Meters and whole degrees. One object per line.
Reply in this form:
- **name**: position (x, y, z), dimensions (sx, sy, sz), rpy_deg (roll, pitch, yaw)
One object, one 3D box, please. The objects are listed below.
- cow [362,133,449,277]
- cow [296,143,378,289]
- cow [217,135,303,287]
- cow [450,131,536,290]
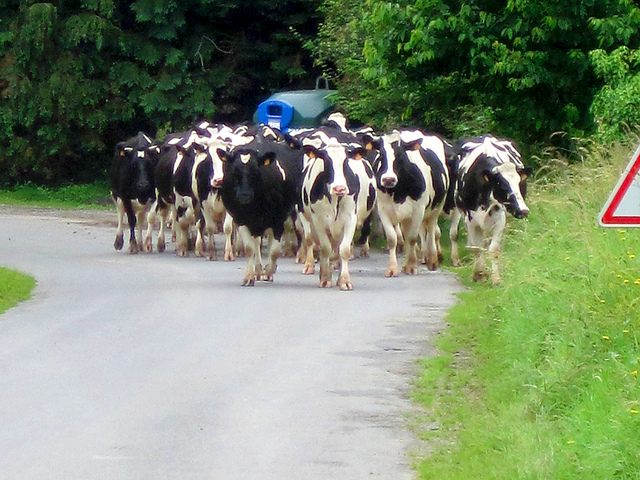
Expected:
- **cow**: position (1.859, -0.704, 20.403), dimensions (1.204, 2.940, 4.483), rpy_deg (0, 3, 17)
- **cow**: position (0.302, -0.530, 18.535), dimensions (1.331, 2.622, 4.183), rpy_deg (0, 7, 0)
- **cow**: position (-1.078, -0.604, 18.558), dimensions (1.190, 2.651, 2.732), rpy_deg (2, 3, 7)
- **cow**: position (3.058, -0.545, 17.540), dimensions (1.246, 2.673, 2.677), rpy_deg (2, 3, 7)
